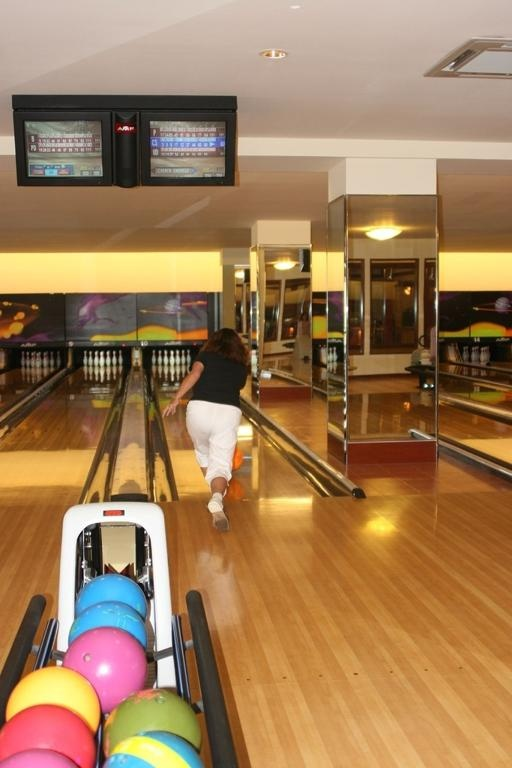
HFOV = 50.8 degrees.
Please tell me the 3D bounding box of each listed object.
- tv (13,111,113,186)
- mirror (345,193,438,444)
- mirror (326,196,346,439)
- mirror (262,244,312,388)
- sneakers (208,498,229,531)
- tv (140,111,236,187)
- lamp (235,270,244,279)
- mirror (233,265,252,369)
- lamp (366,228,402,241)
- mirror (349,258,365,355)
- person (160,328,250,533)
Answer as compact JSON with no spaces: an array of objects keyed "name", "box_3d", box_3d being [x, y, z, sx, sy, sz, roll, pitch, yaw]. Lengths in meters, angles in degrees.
[{"name":"tv","box_3d":[-1.061,-1.322,2.995,0.415,0.306,0.059,0,8,-3]},{"name":"mirror","box_3d":[1.080,-0.504,4.306,0.737,1.927,0.329,-1,1,5]},{"name":"mirror","box_3d":[0.657,-0.526,4.393,0.098,1.955,0.459,-1,1,-5]},{"name":"mirror","box_3d":[0.467,-0.959,8.074,0.804,2.077,0.164,0,1,-15]},{"name":"sneakers","box_3d":[-0.201,0.666,2.802,0.062,0.184,0.073,-18,-25,4]},{"name":"tv","box_3d":[-0.370,-1.331,3.053,0.658,0.458,0.363,0,8,-2]},{"name":"lamp","box_3d":[-0.301,-2.096,10.367,0.160,0.153,0.160,-3,2,-3]},{"name":"mirror","box_3d":[-0.188,-1.472,10.374,0.362,1.500,0.349,10,12,43]},{"name":"lamp","box_3d":[0.999,-1.176,4.236,0.206,0.124,0.061,-9,19,-14]},{"name":"mirror","box_3d":[0.791,-0.570,4.260,0.039,0.748,0.154,-8,11,-34]},{"name":"person","box_3d":[-0.223,0.244,3.318,0.397,1.220,0.516,2,-32,0]}]
